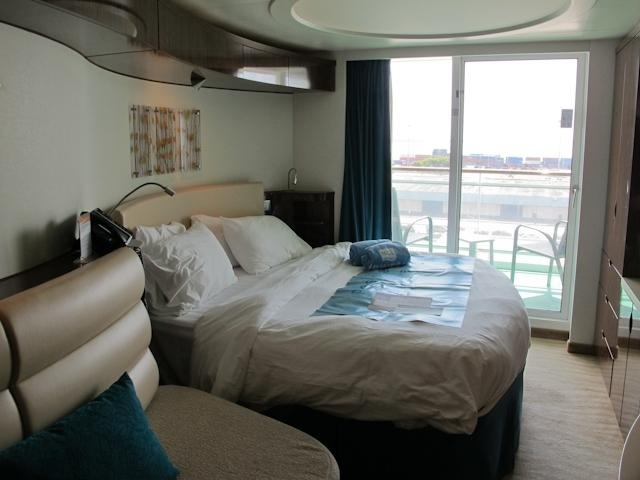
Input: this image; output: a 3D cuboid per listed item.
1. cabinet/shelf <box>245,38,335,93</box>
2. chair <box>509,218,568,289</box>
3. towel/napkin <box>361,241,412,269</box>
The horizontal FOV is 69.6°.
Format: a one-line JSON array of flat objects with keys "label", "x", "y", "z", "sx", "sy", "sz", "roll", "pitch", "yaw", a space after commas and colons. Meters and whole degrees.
[{"label": "cabinet/shelf", "x": -0.245, "y": -1.613, "z": 4.195, "sx": 0.234, "sy": 0.391, "sz": 1.475, "roll": 6, "pitch": 15, "yaw": 24}, {"label": "chair", "x": 2.265, "y": 0.094, "z": 4.871, "sx": 0.557, "sy": 0.855, "sz": 0.567, "roll": 5, "pitch": 10, "yaw": 34}, {"label": "towel/napkin", "x": 0.533, "y": 0.130, "z": 3.717, "sx": 0.336, "sy": 0.155, "sz": 0.182, "roll": -6, "pitch": -7, "yaw": -45}]
